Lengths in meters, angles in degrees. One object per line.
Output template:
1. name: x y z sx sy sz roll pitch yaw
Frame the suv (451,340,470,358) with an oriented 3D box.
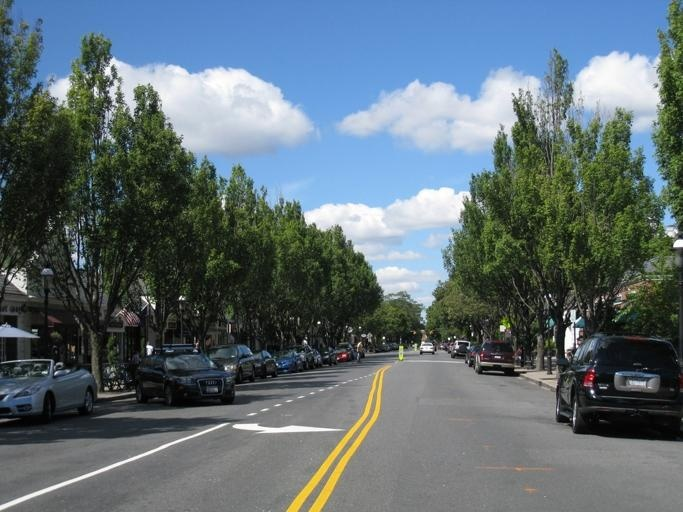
1. suv: 13.485 10.714 76.769 1.311 1.540 3.356 0 -2 6

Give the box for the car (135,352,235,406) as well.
1. car: -5.698 4.455 24.382 4.290 2.091 1.818 -16 -16 42

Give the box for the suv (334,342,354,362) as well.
1. suv: 0.308 9.956 70.435 1.710 2.237 5.757 -3 -13 3

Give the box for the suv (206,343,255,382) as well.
1. suv: -5.703 5.591 35.678 1.401 1.314 2.880 -3 -14 8

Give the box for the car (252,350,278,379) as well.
1. car: -4.784 6.663 41.571 0.848 1.740 3.636 -3 -13 4

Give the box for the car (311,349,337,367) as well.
1. car: -1.445 9.121 60.359 1.011 2.011 10.082 -3 -14 4
